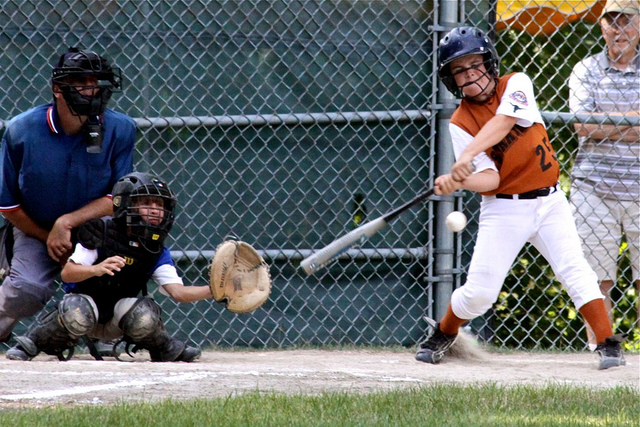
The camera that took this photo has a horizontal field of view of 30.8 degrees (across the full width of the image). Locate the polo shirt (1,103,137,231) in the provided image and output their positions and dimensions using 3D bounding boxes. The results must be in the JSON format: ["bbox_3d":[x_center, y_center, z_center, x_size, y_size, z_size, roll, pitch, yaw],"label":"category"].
[{"bbox_3d":[-1.734,-0.342,7.922,1.247,1.151,0.508,0,3,-16],"label":"polo shirt"}]

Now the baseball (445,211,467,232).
[{"bbox_3d":[0.917,0.042,7.748,0.143,0.134,0.135,0,5,9],"label":"baseball"}]

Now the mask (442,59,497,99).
[{"bbox_3d":[1.020,-0.892,7.787,0.241,0.287,0.441,-1,-2,8],"label":"mask"}]
